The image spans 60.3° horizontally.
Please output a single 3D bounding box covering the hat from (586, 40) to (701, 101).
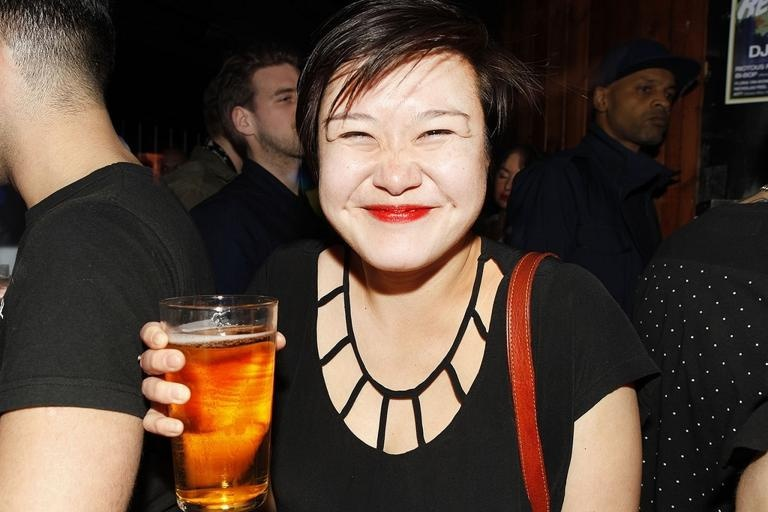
[{"bbox_3d":[1.602,-1.143,3.994,0.478,0.233,0.357,-24,-17,36],"label":"hat"}]
